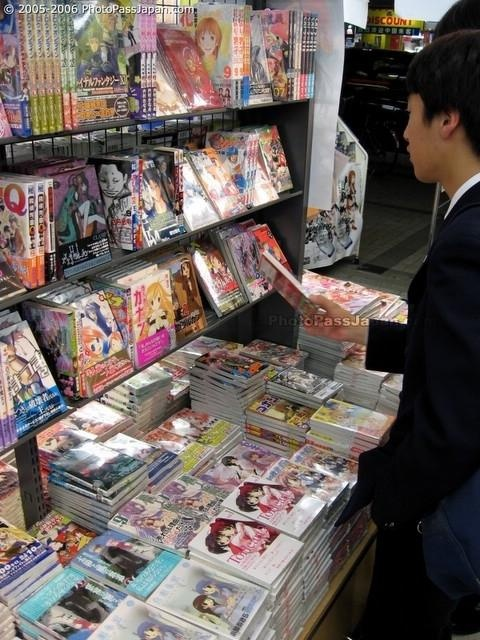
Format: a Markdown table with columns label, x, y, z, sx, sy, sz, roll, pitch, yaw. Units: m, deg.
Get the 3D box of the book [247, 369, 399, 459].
| label | x | y | z | sx | sy | sz | roll | pitch | yaw |
| --- | --- | --- | --- | --- | --- | --- | --- | --- | --- |
| book | 0.365 | 0.446 | 2.258 | 0.403 | 0.133 | 0.408 | 14 | 30 | 40 |
